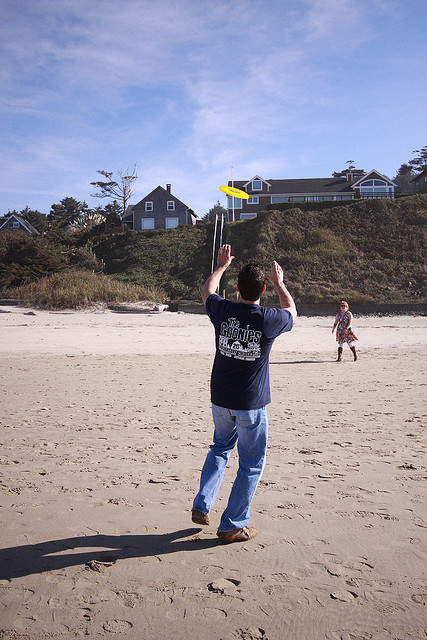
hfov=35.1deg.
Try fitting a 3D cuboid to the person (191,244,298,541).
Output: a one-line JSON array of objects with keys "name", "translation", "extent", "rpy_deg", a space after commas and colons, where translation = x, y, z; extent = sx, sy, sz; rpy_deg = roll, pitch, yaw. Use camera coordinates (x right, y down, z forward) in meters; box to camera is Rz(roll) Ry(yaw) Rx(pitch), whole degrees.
[{"name": "person", "translation": [0.188, 0.505, 4.335], "extent": [0.600, 1.728, 0.566], "rpy_deg": [2, 6, 17]}]

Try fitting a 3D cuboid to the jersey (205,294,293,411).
[{"name": "jersey", "translation": [0.208, 0.196, 4.232], "extent": [0.549, 0.687, 0.375], "rpy_deg": [1, 6, 7]}]
